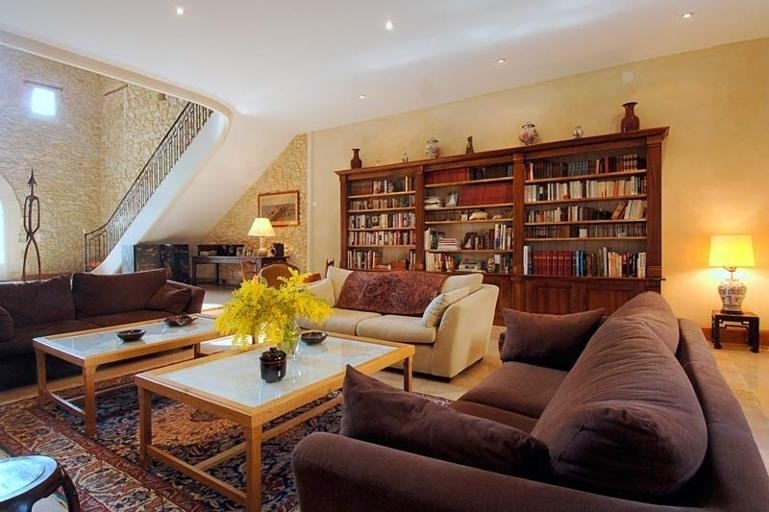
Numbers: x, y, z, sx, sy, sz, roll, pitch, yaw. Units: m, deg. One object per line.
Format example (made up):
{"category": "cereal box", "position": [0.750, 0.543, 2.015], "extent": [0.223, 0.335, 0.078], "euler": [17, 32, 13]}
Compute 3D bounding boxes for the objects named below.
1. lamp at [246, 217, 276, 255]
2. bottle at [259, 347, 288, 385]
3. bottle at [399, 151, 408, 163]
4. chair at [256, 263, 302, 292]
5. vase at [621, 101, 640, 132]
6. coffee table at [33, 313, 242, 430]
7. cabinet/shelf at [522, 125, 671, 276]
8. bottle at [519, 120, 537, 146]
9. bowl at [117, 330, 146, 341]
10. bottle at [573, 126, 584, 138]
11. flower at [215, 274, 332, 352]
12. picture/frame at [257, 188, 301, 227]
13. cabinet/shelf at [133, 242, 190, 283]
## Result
{"category": "lamp", "position": [-2.378, -0.362, 9.667], "extent": [0.620, 0.700, 0.614], "euler": [-3, -5, 14]}
{"category": "bottle", "position": [-0.891, 0.877, 3.949], "extent": [0.185, 0.225, 0.192], "euler": [3, 1, 36]}
{"category": "bottle", "position": [0.324, -1.662, 8.317], "extent": [0.131, 0.140, 0.252], "euler": [0, 6, 1]}
{"category": "chair", "position": [-1.253, 0.248, 5.833], "extent": [0.357, 0.567, 0.367], "euler": [-2, -1, 45]}
{"category": "vase", "position": [3.292, -1.862, 6.625], "extent": [0.242, 0.464, 0.463], "euler": [3, 1, 25]}
{"category": "coffee table", "position": [-2.643, 0.887, 4.846], "extent": [1.101, 0.560, 1.652], "euler": [5, 6, 32]}
{"category": "cabinet/shelf", "position": [2.846, -0.612, 7.078], "extent": [2.297, 2.038, 0.598], "euler": [1, 3, 44]}
{"category": "bottle", "position": [2.110, -1.765, 7.223], "extent": [0.285, 0.351, 0.161], "euler": [6, 2, 37]}
{"category": "bowl", "position": [-2.417, 0.755, 4.716], "extent": [0.152, 0.050, 0.144], "euler": [1, 3, 0]}
{"category": "bottle", "position": [2.692, -1.737, 6.960], "extent": [0.160, 0.180, 0.177], "euler": [2, 21, 10]}
{"category": "flower", "position": [-0.958, 0.501, 4.407], "extent": [0.892, 0.656, 0.893], "euler": [-10, 2, -6]}
{"category": "picture/frame", "position": [-2.164, -0.958, 10.103], "extent": [1.147, 0.740, 0.052], "euler": [0, 1, 33]}
{"category": "cabinet/shelf", "position": [-4.591, 0.220, 10.253], "extent": [1.050, 0.880, 0.350], "euler": [-2, -15, -16]}
